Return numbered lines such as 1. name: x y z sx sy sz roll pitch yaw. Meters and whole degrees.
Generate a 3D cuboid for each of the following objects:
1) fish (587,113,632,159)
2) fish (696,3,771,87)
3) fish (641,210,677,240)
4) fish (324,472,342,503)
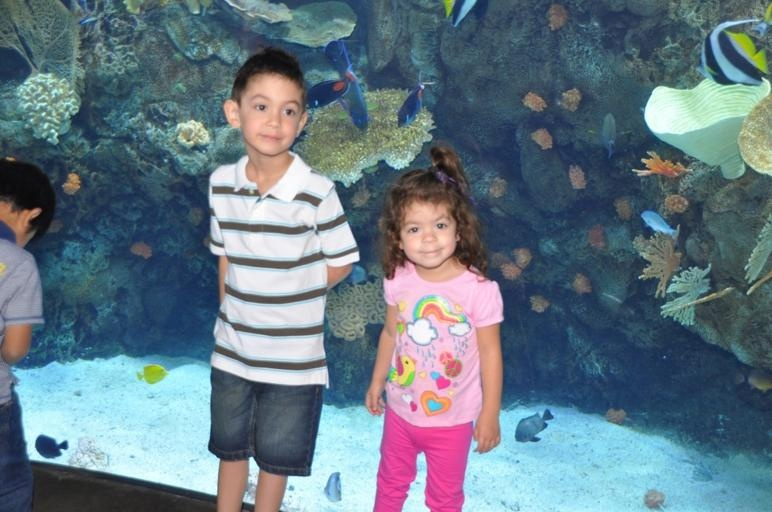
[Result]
1. fish: 3.226 -1.687 9.874 0.582 0.715 0.263 3 5 7
2. fish: 4.271 -2.425 8.273 1.205 0.726 0.470 -3 15 35
3. fish: 3.828 -0.428 9.570 0.275 0.096 0.468 -13 32 -29
4. fish: -0.695 2.987 8.825 0.220 0.319 0.086 -17 -19 -3
